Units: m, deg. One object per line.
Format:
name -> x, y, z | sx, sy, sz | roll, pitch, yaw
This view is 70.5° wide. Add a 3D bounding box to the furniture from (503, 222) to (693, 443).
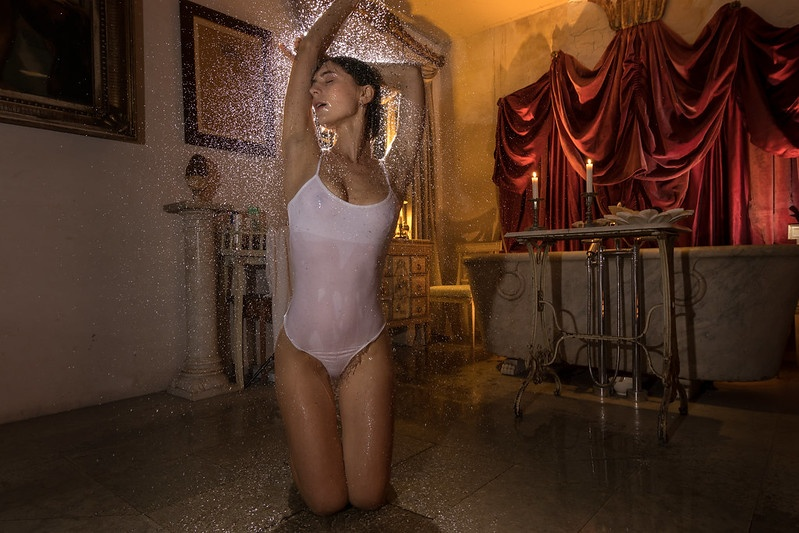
furniture -> 1.701, 0.577, 4.737 | 0.975, 1.714, 1.406 | 6, -8, -42
